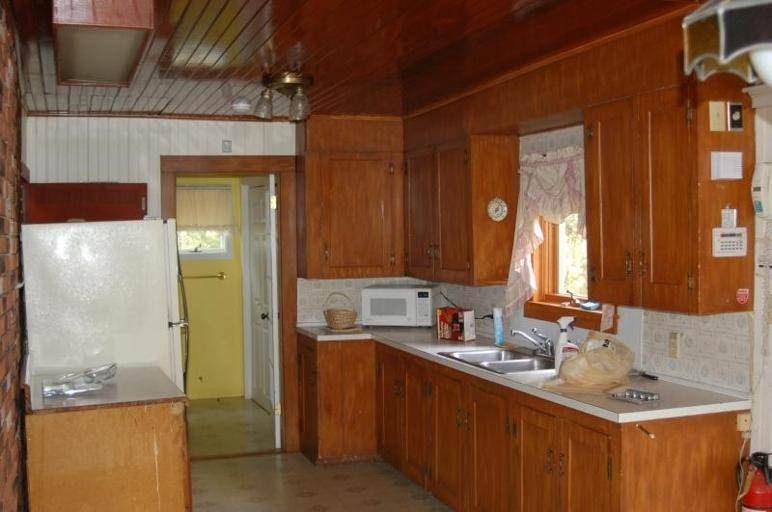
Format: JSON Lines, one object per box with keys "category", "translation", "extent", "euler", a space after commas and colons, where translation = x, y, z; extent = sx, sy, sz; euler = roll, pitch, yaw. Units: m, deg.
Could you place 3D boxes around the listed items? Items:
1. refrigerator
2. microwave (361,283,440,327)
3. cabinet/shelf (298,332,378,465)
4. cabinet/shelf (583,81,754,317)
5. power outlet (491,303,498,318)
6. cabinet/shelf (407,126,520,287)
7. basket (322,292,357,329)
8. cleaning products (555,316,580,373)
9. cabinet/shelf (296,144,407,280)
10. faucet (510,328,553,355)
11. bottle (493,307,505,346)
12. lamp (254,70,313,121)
{"category": "refrigerator", "translation": [-1.865, 0.249, 4.633], "extent": [1.176, 1.654, 0.943], "euler": [-3, 3, -20]}
{"category": "microwave", "translation": [0.108, 0.487, 5.928], "extent": [0.587, 0.365, 0.404], "euler": [-1, -4, 14]}
{"category": "cabinet/shelf", "translation": [-0.236, 1.382, 6.081], "extent": [0.805, 1.154, 0.839], "euler": [-11, -15, 42]}
{"category": "cabinet/shelf", "translation": [1.616, -0.330, 3.616], "extent": [0.897, 1.264, 0.335], "euler": [1, 4, 33]}
{"category": "power outlet", "translation": [0.925, 0.464, 5.301], "extent": [0.065, 0.066, 0.121], "euler": [-1, 12, 4]}
{"category": "cabinet/shelf", "translation": [0.634, -0.379, 5.669], "extent": [0.488, 1.244, 1.319], "euler": [-3, 2, -24]}
{"category": "basket", "translation": [-0.451, 0.524, 6.135], "extent": [0.332, 0.322, 0.482], "euler": [-2, 4, -3]}
{"category": "cleaning products", "translation": [1.215, 0.572, 4.186], "extent": [0.138, 0.340, 0.625], "euler": [0, 4, 17]}
{"category": "cabinet/shelf", "translation": [-0.431, -0.448, 6.269], "extent": [1.133, 1.375, 0.641], "euler": [-5, 10, -35]}
{"category": "faucet", "translation": [1.109, 0.656, 4.787], "extent": [0.299, 0.195, 0.143], "euler": [4, -6, -12]}
{"category": "bottle", "translation": [0.941, 0.576, 5.168], "extent": [0.084, 0.300, 0.319], "euler": [-1, 4, 10]}
{"category": "lamp", "translation": [-0.709, -1.085, 4.326], "extent": [0.442, 0.326, 0.455], "euler": [6, 9, 29]}
